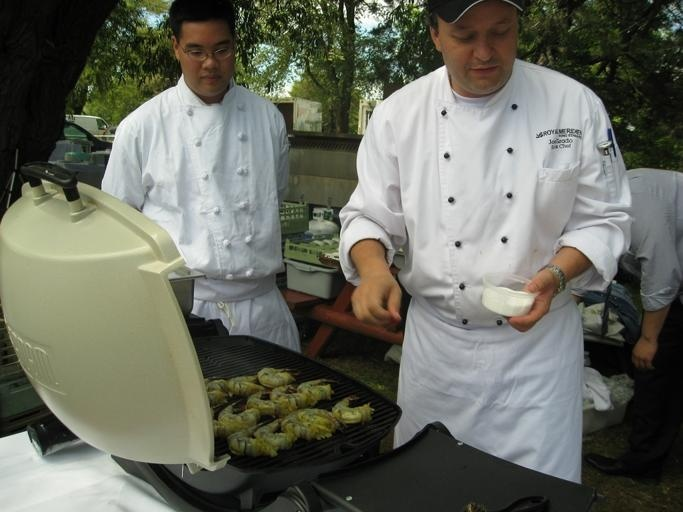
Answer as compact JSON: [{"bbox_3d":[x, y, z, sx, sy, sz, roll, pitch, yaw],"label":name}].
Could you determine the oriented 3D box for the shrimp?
[{"bbox_3d":[-0.167,0.469,1.631,0.500,0.120,0.376,-4,11,-26],"label":"shrimp"}]

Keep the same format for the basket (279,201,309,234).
[{"bbox_3d":[-0.541,-0.444,5.843,0.327,0.238,0.333,-7,12,-29],"label":"basket"}]

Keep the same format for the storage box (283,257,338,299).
[{"bbox_3d":[-0.301,0.204,5.454,0.582,0.341,0.447,9,13,25],"label":"storage box"}]

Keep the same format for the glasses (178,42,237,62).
[{"bbox_3d":[-0.658,-1.015,2.520,0.250,0.092,0.084,-3,10,-20],"label":"glasses"}]
